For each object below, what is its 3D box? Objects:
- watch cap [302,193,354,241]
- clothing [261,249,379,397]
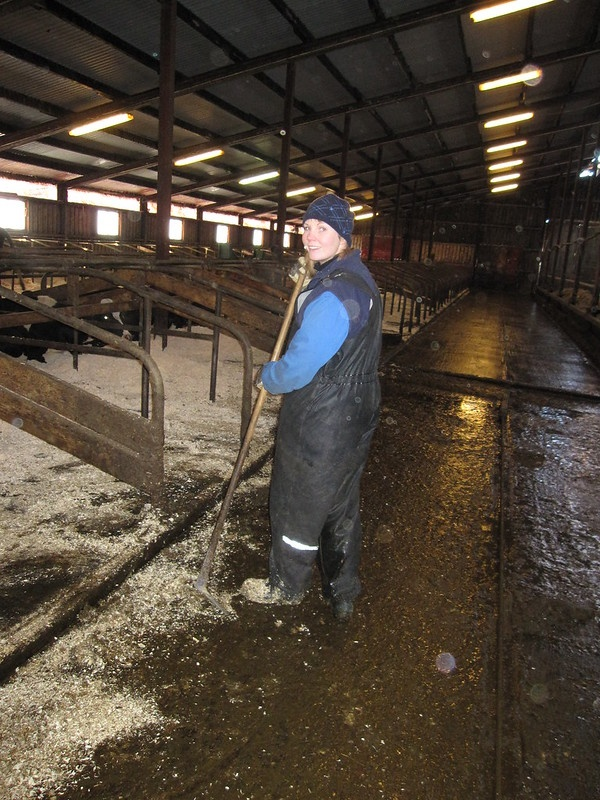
[{"bbox_3d":[0.111,-0.614,2.094,0.178,0.161,0.155,1,-7,-14],"label":"watch cap"},{"bbox_3d":[0.083,-0.241,2.000,0.370,0.492,0.262,0,15,-14],"label":"clothing"}]
